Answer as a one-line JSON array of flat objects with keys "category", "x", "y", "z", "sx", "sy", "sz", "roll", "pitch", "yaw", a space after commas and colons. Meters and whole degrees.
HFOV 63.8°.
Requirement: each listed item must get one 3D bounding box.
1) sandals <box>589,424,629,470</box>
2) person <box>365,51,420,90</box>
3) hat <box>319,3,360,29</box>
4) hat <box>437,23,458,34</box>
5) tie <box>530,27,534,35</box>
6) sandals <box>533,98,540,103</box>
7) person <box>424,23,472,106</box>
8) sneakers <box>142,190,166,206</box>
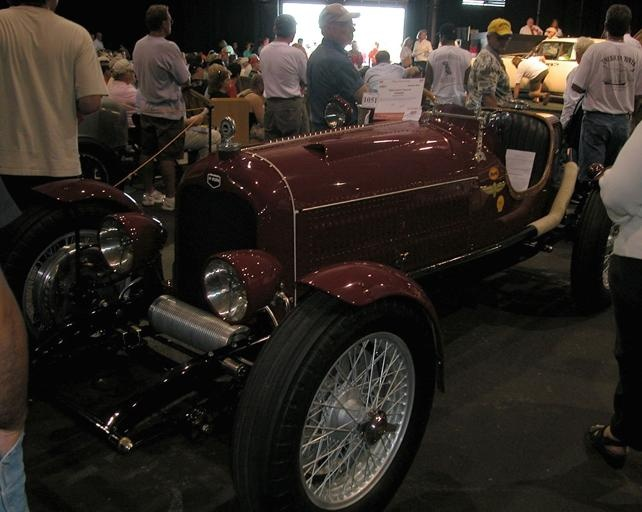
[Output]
[{"category": "sandals", "x": 1.335, "y": 0.838, "z": 2.323, "sx": 0.193, "sy": 0.085, "sz": 0.143, "roll": 39, "pitch": 14, "yaw": 3}, {"category": "person", "x": 1.040, "y": -2.765, "z": 7.321, "sx": 0.673, "sy": 0.319, "sz": 0.317, "roll": -7, "pitch": 51, "yaw": 8}, {"category": "hat", "x": 0.127, "y": -1.852, "z": 4.036, "sx": 0.229, "sy": 0.138, "sz": 0.180, "roll": -10, "pitch": 36, "yaw": -2}, {"category": "hat", "x": 1.608, "y": -2.859, "z": 6.502, "sx": 0.177, "sy": 0.160, "sz": 0.578, "roll": 6, "pitch": 21, "yaw": 15}, {"category": "tie", "x": 7.642, "y": -8.107, "z": 18.647, "sx": 0.070, "sy": 0.270, "sz": 0.176, "roll": 0, "pitch": 2, "yaw": 1}, {"category": "sandals", "x": 4.952, "y": -3.576, "z": 11.842, "sx": 0.089, "sy": 0.118, "sz": 0.114, "roll": -8, "pitch": 12, "yaw": -32}, {"category": "person", "x": 1.676, "y": -2.169, "z": 6.783, "sx": 0.509, "sy": 1.699, "sz": 0.495, "roll": -1, "pitch": 40, "yaw": 10}, {"category": "sneakers", "x": -1.899, "y": -0.705, "z": 5.965, "sx": 0.155, "sy": 0.190, "sz": 0.397, "roll": 7, "pitch": 16, "yaw": 23}]
